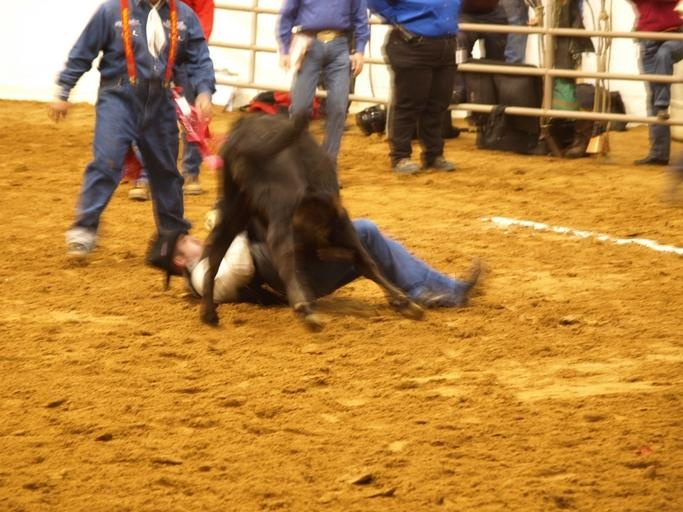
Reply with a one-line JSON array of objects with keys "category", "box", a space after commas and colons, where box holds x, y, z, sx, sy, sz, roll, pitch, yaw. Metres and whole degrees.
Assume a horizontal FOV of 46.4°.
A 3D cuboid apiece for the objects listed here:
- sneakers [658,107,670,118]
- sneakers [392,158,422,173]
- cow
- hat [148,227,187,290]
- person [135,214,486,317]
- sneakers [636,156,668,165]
[{"category": "sneakers", "box": [3.359, -1.498, 8.352, 0.121, 0.136, 0.204, 5, 7, 17]}, {"category": "sneakers", "box": [0.684, -0.969, 8.576, 0.170, 0.099, 0.263, -2, 8, -16]}, {"category": "cow", "box": [-0.258, -0.165, 4.397, 0.941, 1.204, 0.699, 9, 9, 37]}, {"category": "hat", "box": [-1.099, 0.003, 4.937, 0.189, 0.313, 0.250, 14, 15, -10]}, {"category": "person", "box": [-0.212, 0.019, 4.655, 2.066, 0.455, 0.702, 2, -21, 17]}, {"category": "sneakers", "box": [3.342, -1.039, 8.653, 0.374, 0.111, 0.111, 4, 6, 10]}]
